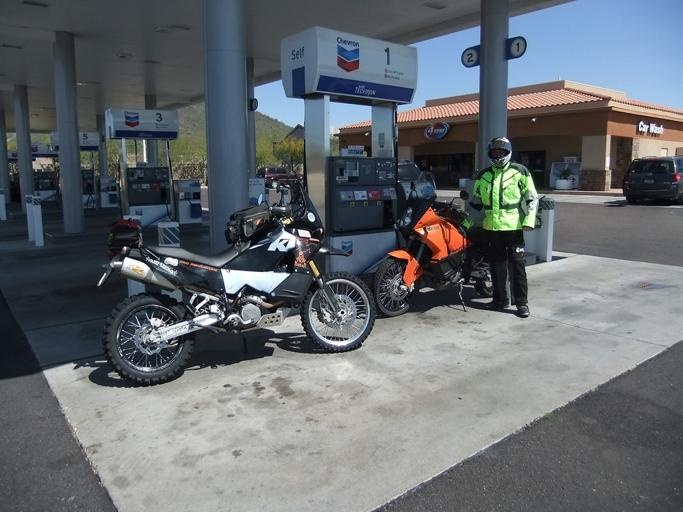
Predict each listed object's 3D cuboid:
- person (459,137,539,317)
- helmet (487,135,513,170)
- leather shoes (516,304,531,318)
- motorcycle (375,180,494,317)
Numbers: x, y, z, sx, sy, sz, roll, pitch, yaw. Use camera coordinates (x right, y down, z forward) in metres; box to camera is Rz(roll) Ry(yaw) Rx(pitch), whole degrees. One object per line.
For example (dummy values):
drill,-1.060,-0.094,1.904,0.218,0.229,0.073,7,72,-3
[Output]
person,2.041,-0.377,5.990,0.818,2.169,0.433,8,15,34
helmet,1.986,-1.309,5.974,0.271,0.368,0.371,3,13,18
leather shoes,2.268,0.669,5.925,0.161,0.145,0.200,4,14,19
motorcycle,1.450,-0.092,6.473,2.810,1.783,0.990,-2,8,-41
